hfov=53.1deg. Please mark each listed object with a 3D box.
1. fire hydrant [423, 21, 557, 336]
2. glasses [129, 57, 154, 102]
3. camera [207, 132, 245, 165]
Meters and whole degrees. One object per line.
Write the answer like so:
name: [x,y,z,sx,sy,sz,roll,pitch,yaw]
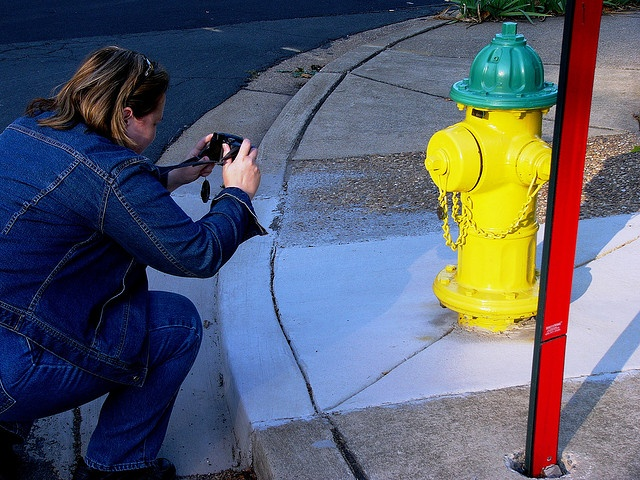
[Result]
fire hydrant: [0.757,-0.255,2.892,0.532,1.306,0.733,2,41,18]
glasses: [-0.632,-0.561,2.264,0.141,0.042,0.113,-59,16,-12]
camera: [-0.368,-0.381,2.698,0.163,0.103,0.104,7,7,3]
